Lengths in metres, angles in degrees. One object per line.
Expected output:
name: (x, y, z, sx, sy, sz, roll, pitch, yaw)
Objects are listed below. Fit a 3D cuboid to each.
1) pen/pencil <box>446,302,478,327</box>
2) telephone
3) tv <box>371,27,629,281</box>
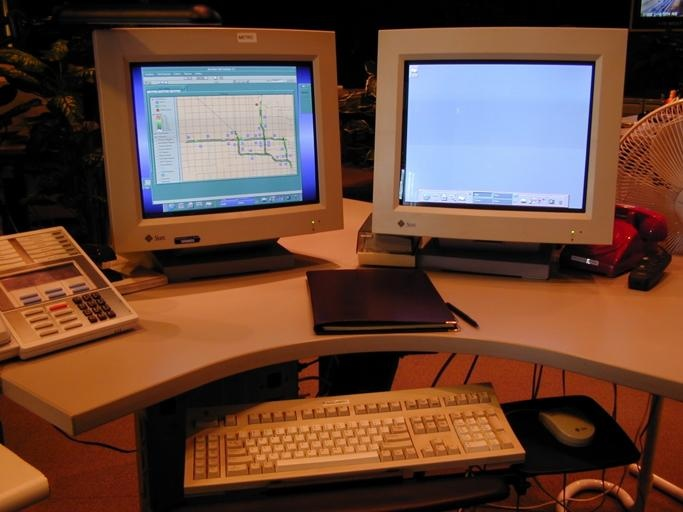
pen/pencil: (0.267, 0.134, 1.265, 0.010, 0.011, 0.072, -45, 40, -1)
telephone: (0.732, -0.041, 1.487, 0.199, 0.102, 0.201, -17, 22, -19)
tv: (0.390, -0.262, 1.393, 0.606, 0.585, 0.346, 3, 11, 12)
